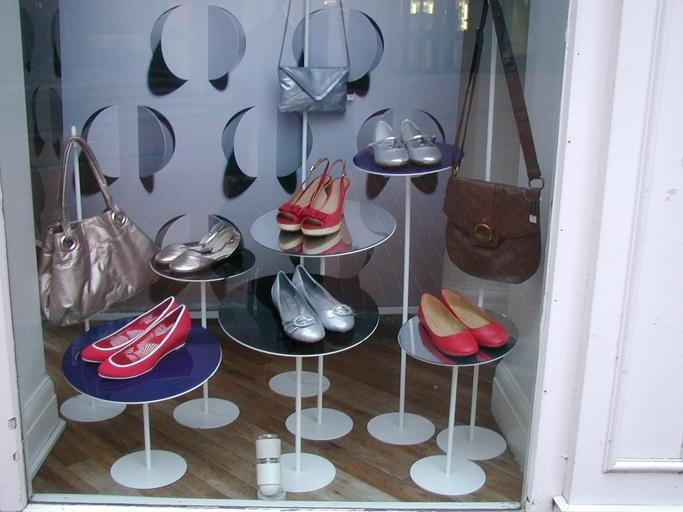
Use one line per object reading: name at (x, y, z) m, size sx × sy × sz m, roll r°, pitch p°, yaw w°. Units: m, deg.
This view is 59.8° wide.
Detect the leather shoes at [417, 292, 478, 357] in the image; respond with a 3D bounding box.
leather shoes at (0.321, 0.221, 1.821) m, size 0.112 × 0.073 × 0.318 m, roll -13°, pitch 17°, yaw -4°

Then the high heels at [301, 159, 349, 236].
high heels at (-0.043, -0.172, 1.894) m, size 0.100 × 0.096 × 0.336 m, roll 2°, pitch 43°, yaw 16°

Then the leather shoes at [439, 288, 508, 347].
leather shoes at (0.401, 0.178, 1.832) m, size 0.080 × 0.065 × 0.235 m, roll -20°, pitch 33°, yaw -18°

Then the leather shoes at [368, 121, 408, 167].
leather shoes at (0.143, -0.374, 1.961) m, size 0.099 × 0.077 × 0.213 m, roll -6°, pitch 39°, yaw -8°

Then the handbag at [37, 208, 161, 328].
handbag at (-0.825, -0.015, 2.005) m, size 0.159 × 0.360 × 0.433 m, roll 13°, pitch 29°, yaw 23°

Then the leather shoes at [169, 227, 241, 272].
leather shoes at (-0.458, -0.008, 2.014) m, size 0.107 × 0.060 × 0.227 m, roll 20°, pitch 40°, yaw 36°

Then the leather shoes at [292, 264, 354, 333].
leather shoes at (-0.063, 0.143, 1.885) m, size 0.104 × 0.076 × 0.263 m, roll -12°, pitch 39°, yaw -34°

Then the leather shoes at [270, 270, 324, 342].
leather shoes at (-0.145, 0.150, 1.804) m, size 0.102 × 0.085 × 0.290 m, roll -11°, pitch 35°, yaw -23°

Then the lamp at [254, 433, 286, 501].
lamp at (-0.213, 0.631, 1.757) m, size 0.111 × 0.198 × 0.107 m, roll 0°, pitch -17°, yaw -15°

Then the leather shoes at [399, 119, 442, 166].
leather shoes at (0.263, -0.380, 1.972) m, size 0.128 × 0.135 × 0.151 m, roll -1°, pitch 18°, yaw 3°

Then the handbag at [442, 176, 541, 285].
handbag at (0.462, -0.086, 1.805) m, size 0.283 × 0.278 × 0.077 m, roll 16°, pitch 24°, yaw 42°

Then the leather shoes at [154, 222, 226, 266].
leather shoes at (-0.529, -0.041, 2.081) m, size 0.279 × 0.106 × 0.101 m, roll -20°, pitch 30°, yaw -34°
